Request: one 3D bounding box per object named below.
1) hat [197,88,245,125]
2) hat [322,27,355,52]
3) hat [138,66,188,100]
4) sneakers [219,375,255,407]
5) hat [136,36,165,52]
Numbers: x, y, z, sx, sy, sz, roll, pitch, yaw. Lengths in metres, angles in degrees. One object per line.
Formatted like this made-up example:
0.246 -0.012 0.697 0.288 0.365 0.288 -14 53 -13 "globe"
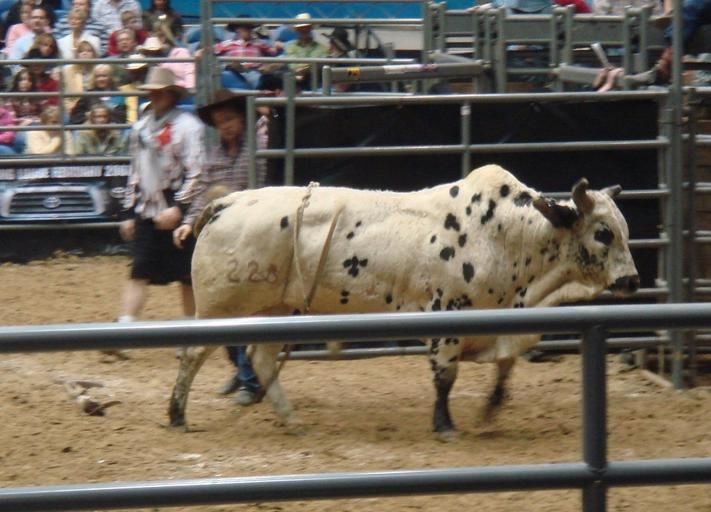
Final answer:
-1.126 -1.263 13.415 0.410 0.329 0.285 4 12 -2 "hat"
-0.164 -2.290 16.498 0.230 0.101 0.299 16 6 20 "hat"
-1.605 -1.478 13.424 0.371 0.263 0.275 2 12 -7 "hat"
-0.881 1.062 12.317 0.153 0.156 0.454 4 -9 -45 "sneakers"
-2.129 -2.246 16.654 0.265 0.088 0.226 0 3 -3 "hat"
